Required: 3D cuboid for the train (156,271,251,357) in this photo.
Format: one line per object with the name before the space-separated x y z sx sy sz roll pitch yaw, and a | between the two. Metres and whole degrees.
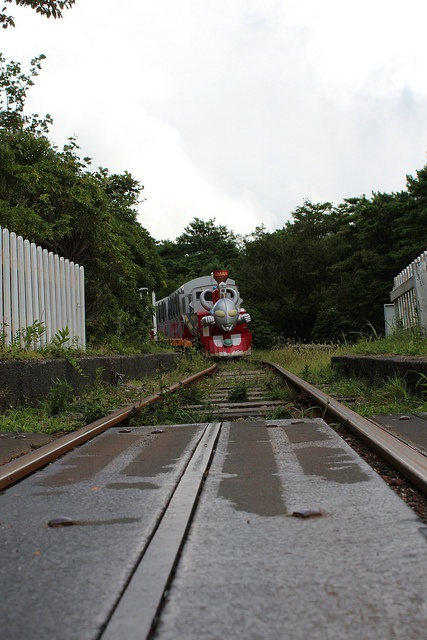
train | -0.631 -0.161 18.491 2.028 2.776 7.520 -1 -1 -9
